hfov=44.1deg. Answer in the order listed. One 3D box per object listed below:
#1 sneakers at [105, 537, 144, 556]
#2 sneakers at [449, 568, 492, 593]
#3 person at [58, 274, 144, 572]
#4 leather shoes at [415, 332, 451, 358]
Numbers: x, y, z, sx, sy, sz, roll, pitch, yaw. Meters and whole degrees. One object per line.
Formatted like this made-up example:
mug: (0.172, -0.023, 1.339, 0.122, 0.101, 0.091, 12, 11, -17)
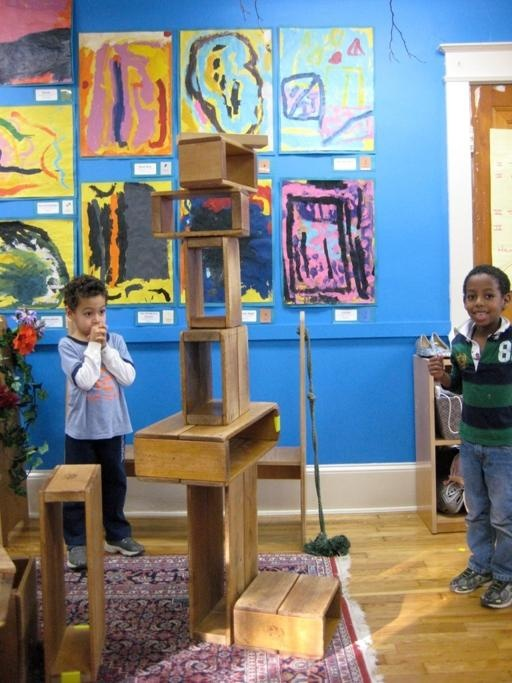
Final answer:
sneakers: (-0.540, 0.841, 2.617, 0.150, 0.064, 0.066, -1, -4, 17)
sneakers: (0.750, 0.836, 2.254, 0.174, 0.071, 0.062, 2, 6, -33)
person: (-0.625, 0.311, 2.528, 0.307, 1.146, 0.451, -2, 4, -17)
leather shoes: (0.838, 0.001, 2.956, 0.137, 0.097, 0.236, -1, 4, -8)
